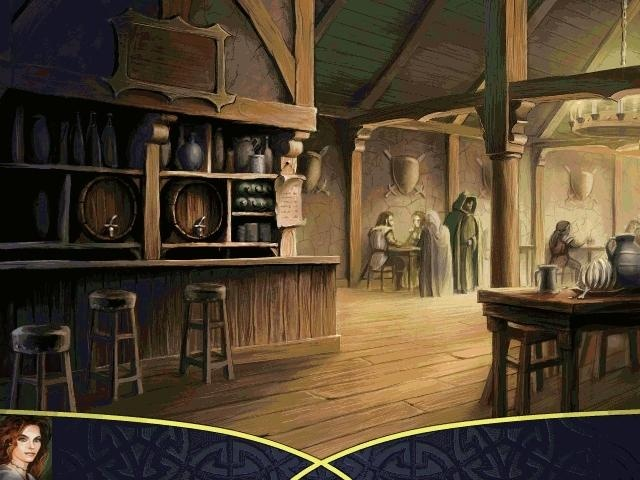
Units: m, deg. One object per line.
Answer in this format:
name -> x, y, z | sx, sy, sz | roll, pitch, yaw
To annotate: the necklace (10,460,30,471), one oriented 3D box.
necklace -> -2.059, 1.518, 3.341 | 0.084, 0.057, 0.079 | 2, 5, -1
